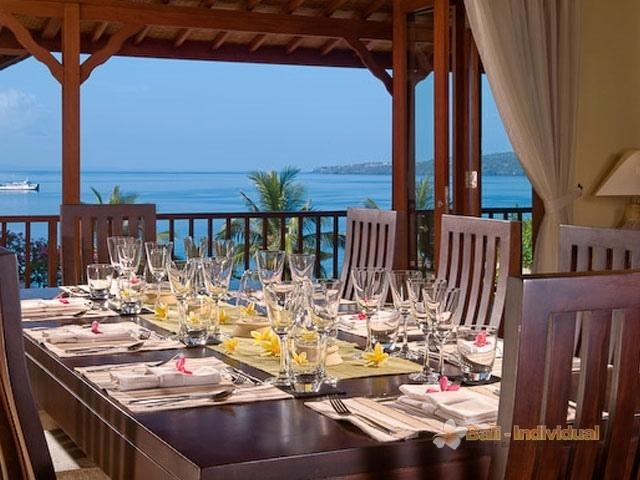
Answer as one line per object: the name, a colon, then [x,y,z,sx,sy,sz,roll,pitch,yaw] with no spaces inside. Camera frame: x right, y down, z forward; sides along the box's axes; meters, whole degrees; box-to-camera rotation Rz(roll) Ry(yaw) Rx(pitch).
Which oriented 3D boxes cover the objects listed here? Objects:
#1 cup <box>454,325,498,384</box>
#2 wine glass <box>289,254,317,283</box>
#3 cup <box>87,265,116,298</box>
cup: [0.393,0.285,1.474,0.111,0.158,0.131,0,-2,-3]
wine glass: [-0.046,0.078,1.637,0.069,0.086,0.071,0,1,33]
cup: [-0.939,0.167,2.543,0.126,0.162,0.127,1,7,0]
